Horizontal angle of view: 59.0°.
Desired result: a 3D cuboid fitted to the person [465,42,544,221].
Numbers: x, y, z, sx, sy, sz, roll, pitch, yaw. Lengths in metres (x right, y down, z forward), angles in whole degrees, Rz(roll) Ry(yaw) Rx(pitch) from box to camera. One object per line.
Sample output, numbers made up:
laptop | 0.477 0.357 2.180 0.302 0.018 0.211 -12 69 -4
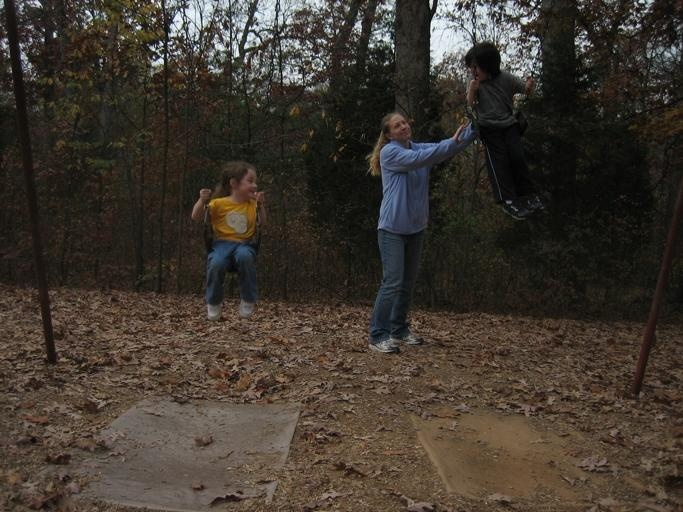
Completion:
person | 1.680 -1.269 6.030 0.699 1.690 0.295 4 7 18

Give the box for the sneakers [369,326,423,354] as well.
sneakers | 0.640 0.952 6.793 0.643 0.270 0.233 5 -9 -15

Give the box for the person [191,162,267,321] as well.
person | -1.314 -0.171 7.148 0.789 1.934 0.708 1 7 -7

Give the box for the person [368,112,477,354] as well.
person | 0.760 -0.268 6.635 0.787 2.636 1.006 2 7 -5
